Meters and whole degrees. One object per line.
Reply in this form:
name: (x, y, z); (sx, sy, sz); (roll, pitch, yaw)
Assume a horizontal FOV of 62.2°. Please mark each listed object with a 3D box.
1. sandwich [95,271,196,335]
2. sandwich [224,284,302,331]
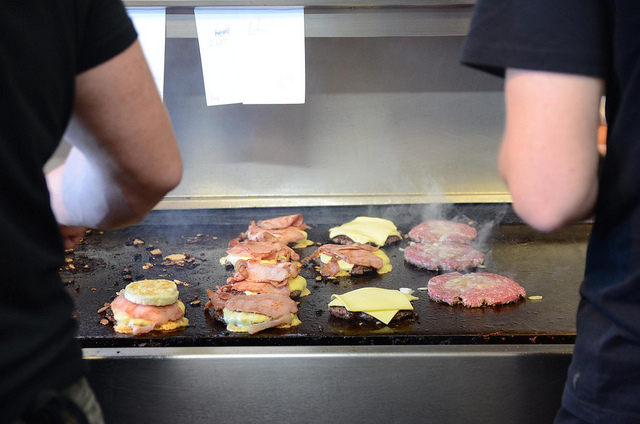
sandwich: (-0.529, 0.286, 1.647); (0.217, 0.065, 0.223); (1, 25, -38)
sandwich: (-0.184, 0.298, 1.646); (0.144, 0.042, 0.143); (2, 9, 12)
